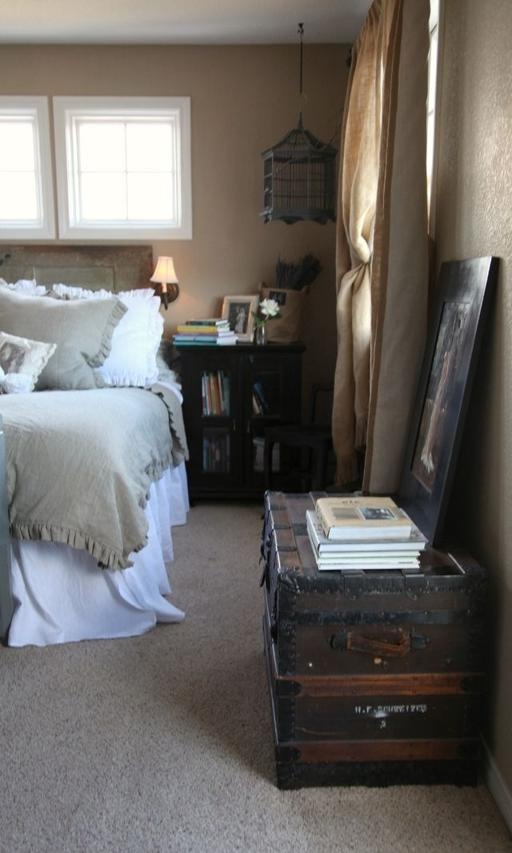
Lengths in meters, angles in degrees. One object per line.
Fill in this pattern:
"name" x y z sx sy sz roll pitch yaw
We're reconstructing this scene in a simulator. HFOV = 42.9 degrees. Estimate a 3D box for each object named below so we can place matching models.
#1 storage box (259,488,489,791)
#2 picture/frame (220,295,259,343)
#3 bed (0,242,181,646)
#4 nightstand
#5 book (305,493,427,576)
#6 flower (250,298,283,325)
"storage box" 0.243 0.497 1.455 0.337 0.406 0.647 -1 7 0
"picture/frame" -0.090 -0.607 3.721 0.246 0.404 0.027 1 -21 15
"bed" -0.548 0.247 2.325 0.567 0.714 1.025 -1 8 -6
"nightstand" -0.097 -0.032 3.406 0.633 1.059 0.355 0 5 -1
"book" 0.239 0.220 1.415 0.245 0.102 0.282 0 8 -1
"flower" 0.052 -0.633 3.577 0.145 0.168 0.159 14 18 -1
